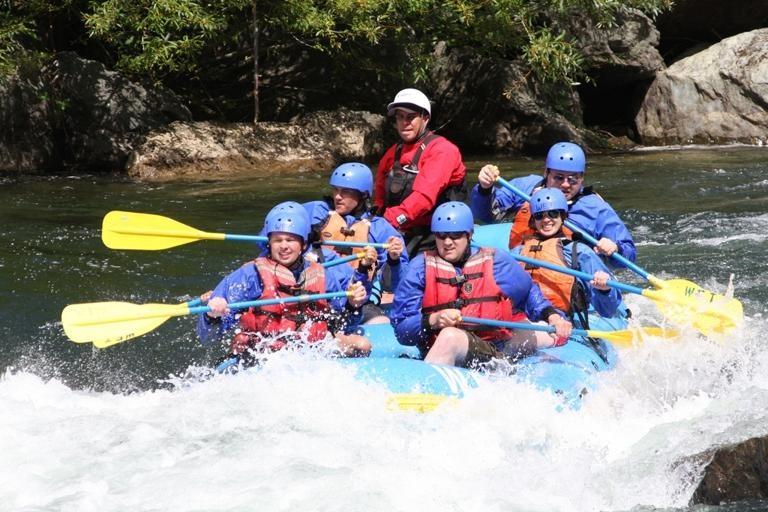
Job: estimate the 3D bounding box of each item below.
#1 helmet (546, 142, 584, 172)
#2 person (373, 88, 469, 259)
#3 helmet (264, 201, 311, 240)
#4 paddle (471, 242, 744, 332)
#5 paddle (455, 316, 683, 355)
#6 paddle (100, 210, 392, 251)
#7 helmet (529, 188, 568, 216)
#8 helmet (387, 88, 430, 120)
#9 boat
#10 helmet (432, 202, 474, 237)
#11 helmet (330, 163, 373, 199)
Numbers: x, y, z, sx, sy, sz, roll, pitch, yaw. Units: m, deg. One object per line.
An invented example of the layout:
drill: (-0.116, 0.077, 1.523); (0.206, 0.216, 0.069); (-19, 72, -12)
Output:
helmet: (1.746, -0.911, 8.655); (0.281, 0.257, 0.347); (9, -21, 2)
person: (0.358, -0.539, 9.008); (1.055, 2.132, 1.213); (-1, 13, 1)
helmet: (-0.837, -0.292, 7.842); (0.407, 0.396, 0.485); (6, 13, 11)
paddle: (2.029, 0.318, 8.295); (2.907, 0.461, 0.124); (14, -15, 11)
paddle: (1.564, 0.712, 7.795); (1.906, 0.086, 0.247); (5, 33, -21)
paddle: (-1.322, -0.234, 8.779); (2.996, 0.438, 0.125); (5, -32, -2)
helmet: (1.486, -0.501, 8.102); (0.236, 0.217, 0.291); (-4, -31, 9)
helmet: (0.243, -1.491, 8.688); (0.390, 0.251, 0.274); (-2, 12, -3)
boat: (0.495, 0.473, 8.159); (3.629, 1.124, 2.690); (0, 11, 3)
helmet: (0.577, -0.326, 7.596); (0.268, 0.235, 0.320); (0, -20, 12)
helmet: (-0.382, -0.695, 8.717); (0.340, 0.311, 0.422); (0, 9, 6)
